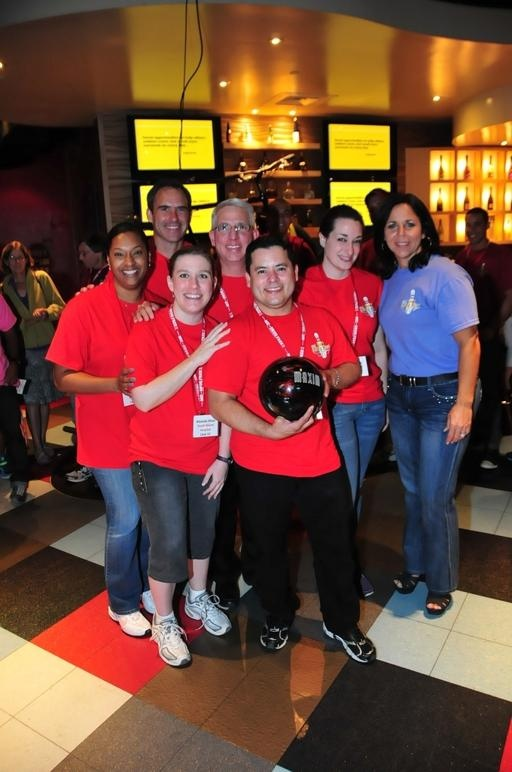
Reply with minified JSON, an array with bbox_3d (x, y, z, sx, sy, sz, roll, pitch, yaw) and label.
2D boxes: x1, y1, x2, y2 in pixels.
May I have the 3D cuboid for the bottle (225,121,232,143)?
[{"bbox_3d":[-0.348,-3.208,7.000,0.066,0.243,0.102,-2,9,10],"label":"bottle"}]

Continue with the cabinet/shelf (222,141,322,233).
[{"bbox_3d":[0.239,-2.674,7.528,1.450,1.144,0.434,4,26,18],"label":"cabinet/shelf"}]

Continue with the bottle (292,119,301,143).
[{"bbox_3d":[0.526,-3.306,7.210,0.107,0.342,0.236,-2,9,6],"label":"bottle"}]

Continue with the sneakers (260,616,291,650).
[{"bbox_3d":[0.076,0.935,2.126,0.125,0.101,0.104,-4,9,-8],"label":"sneakers"}]

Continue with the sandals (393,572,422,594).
[{"bbox_3d":[0.665,0.872,2.465,0.105,0.070,0.088,-1,9,13],"label":"sandals"}]

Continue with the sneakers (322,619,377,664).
[{"bbox_3d":[0.328,0.926,2.082,0.086,0.089,0.227,-19,22,-35],"label":"sneakers"}]

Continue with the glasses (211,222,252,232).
[{"bbox_3d":[-0.092,-0.630,2.210,0.142,0.039,0.049,-3,9,-3],"label":"glasses"}]

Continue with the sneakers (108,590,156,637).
[{"bbox_3d":[-0.520,0.953,2.344,0.098,0.104,0.268,-4,0,-39],"label":"sneakers"}]

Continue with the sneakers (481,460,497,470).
[{"bbox_3d":[1.633,0.551,3.918,0.121,0.078,0.056,0,-1,20],"label":"sneakers"}]

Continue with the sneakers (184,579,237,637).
[{"bbox_3d":[-0.193,0.912,2.297,0.257,0.115,0.110,22,18,34],"label":"sneakers"}]
